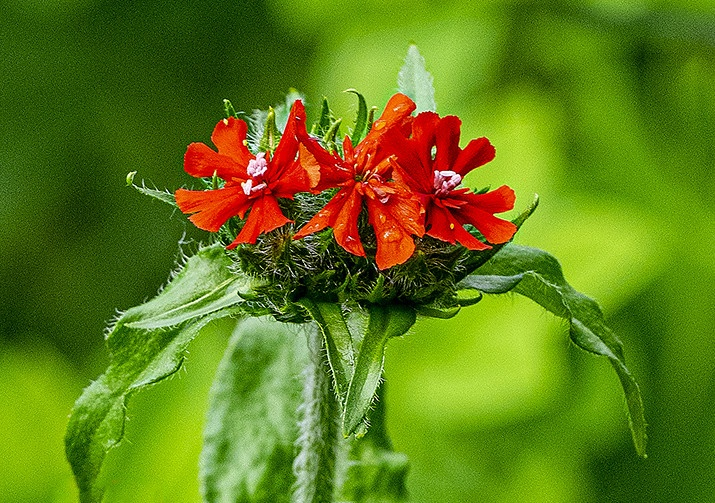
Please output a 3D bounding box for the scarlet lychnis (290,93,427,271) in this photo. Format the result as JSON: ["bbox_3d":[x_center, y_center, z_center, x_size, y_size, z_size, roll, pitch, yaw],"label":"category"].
[{"bbox_3d":[0.027,-0.199,2.384,0.429,0.455,0.154,-5,-2,9],"label":"scarlet lychnis"}]
